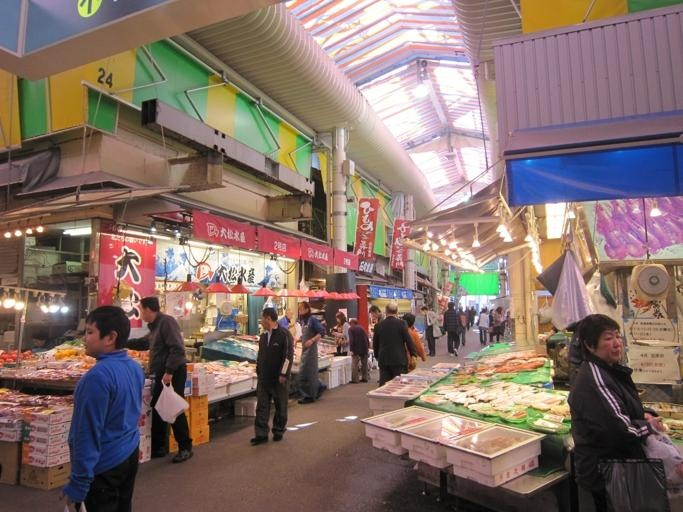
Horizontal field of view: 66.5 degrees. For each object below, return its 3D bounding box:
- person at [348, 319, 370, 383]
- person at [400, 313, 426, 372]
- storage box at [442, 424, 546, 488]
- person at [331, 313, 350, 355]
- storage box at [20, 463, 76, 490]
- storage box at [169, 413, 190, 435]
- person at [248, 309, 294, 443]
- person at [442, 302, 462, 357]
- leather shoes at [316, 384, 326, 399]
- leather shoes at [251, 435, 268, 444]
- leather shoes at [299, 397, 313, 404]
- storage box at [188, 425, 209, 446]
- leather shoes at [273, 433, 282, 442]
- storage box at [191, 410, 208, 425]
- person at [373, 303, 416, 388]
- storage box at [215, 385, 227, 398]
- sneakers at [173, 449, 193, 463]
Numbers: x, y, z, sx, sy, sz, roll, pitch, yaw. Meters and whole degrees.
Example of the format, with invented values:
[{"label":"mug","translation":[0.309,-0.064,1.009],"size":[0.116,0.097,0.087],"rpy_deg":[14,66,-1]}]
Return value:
[{"label":"person","translation":[0.399,2.316,12.694],"size":[0.480,1.523,0.989],"rpy_deg":[0,-7,0]},{"label":"person","translation":[1.290,1.613,9.727],"size":[0.529,1.180,0.421],"rpy_deg":[12,18,35]},{"label":"storage box","translation":[1.541,1.987,5.211],"size":[0.869,0.327,0.625],"rpy_deg":[-3,-4,-38]},{"label":"person","translation":[-0.012,2.076,13.079],"size":[0.426,1.258,0.421],"rpy_deg":[-3,14,-7]},{"label":"storage box","translation":[-3.589,2.582,6.329],"size":[0.418,0.257,0.418],"rpy_deg":[-1,-6,14]},{"label":"storage box","translation":[-2.200,2.277,7.053],"size":[0.159,0.306,0.271],"rpy_deg":[-2,-8,16]},{"label":"person","translation":[-1.063,1.802,7.988],"size":[0.589,1.990,0.424],"rpy_deg":[1,-7,-8]},{"label":"person","translation":[3.806,2.577,17.574],"size":[0.683,1.714,0.624],"rpy_deg":[2,-5,-7]},{"label":"leather shoes","translation":[-0.437,2.830,10.897],"size":[0.230,0.326,0.108],"rpy_deg":[1,-4,-17]},{"label":"leather shoes","translation":[-1.204,2.720,7.731],"size":[0.100,0.120,0.285],"rpy_deg":[-8,-18,37]},{"label":"leather shoes","translation":[-0.707,2.886,10.417],"size":[0.254,0.108,0.116],"rpy_deg":[13,-16,-35]},{"label":"storage box","translation":[-2.103,2.661,7.726],"size":[0.179,0.232,0.238],"rpy_deg":[-9,-9,43]},{"label":"leather shoes","translation":[-0.950,2.724,7.871],"size":[0.151,0.111,0.219],"rpy_deg":[1,-7,-7]},{"label":"storage box","translation":[-2.114,2.400,7.728],"size":[0.236,0.140,0.226],"rpy_deg":[4,-2,-32]},{"label":"person","translation":[0.873,1.493,8.730],"size":[0.714,1.347,0.506],"rpy_deg":[-1,-7,7]},{"label":"storage box","translation":[-1.929,2.169,8.332],"size":[0.190,0.156,0.286],"rpy_deg":[2,-2,18]},{"label":"sneakers","translation":[-2.138,2.697,7.053],"size":[0.104,0.118,0.282],"rpy_deg":[-1,-10,16]}]
